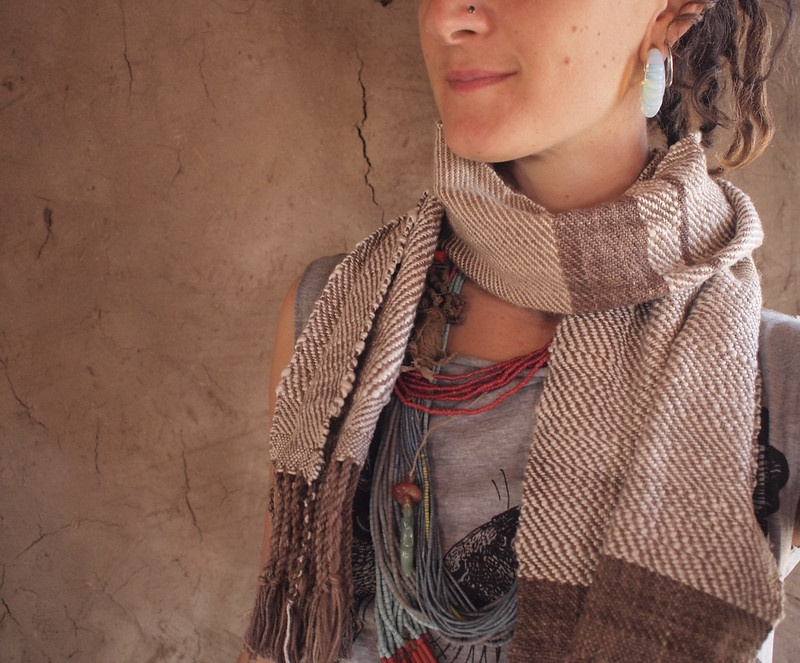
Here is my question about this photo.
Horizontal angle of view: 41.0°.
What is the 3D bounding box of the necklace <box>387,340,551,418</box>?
[{"bbox_3d":[0.115,0.094,1.878,0.145,0.166,0.044,-32,105,-46],"label":"necklace"}]
